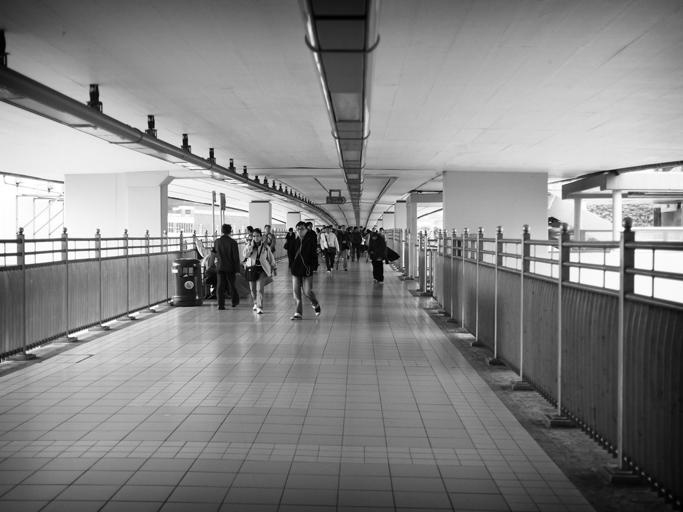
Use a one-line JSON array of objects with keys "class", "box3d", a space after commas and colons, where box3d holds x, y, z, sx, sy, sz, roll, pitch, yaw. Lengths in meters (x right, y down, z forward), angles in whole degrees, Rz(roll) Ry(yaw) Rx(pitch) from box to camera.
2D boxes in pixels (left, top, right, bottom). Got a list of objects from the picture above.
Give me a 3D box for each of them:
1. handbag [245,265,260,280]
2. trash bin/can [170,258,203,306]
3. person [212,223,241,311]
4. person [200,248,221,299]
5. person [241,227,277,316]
[{"class": "handbag", "box3d": [-2.067, 0.405, 11.162, 0.427, 0.380, 0.255, 1, 2, 12]}, {"class": "trash bin/can", "box3d": [-3.968, 0.699, 12.386, 1.000, 1.564, 1.021, 0, -4, -7]}, {"class": "person", "box3d": [-2.913, 0.236, 12.042, 0.648, 2.093, 1.551, 0, 2, -15]}, {"class": "person", "box3d": [-3.561, 0.507, 12.856, 0.843, 1.169, 0.381, 3, 18, 4]}, {"class": "person", "box3d": [-1.971, 0.329, 11.483, 0.719, 1.981, 1.162, 0, 2, -11]}]
